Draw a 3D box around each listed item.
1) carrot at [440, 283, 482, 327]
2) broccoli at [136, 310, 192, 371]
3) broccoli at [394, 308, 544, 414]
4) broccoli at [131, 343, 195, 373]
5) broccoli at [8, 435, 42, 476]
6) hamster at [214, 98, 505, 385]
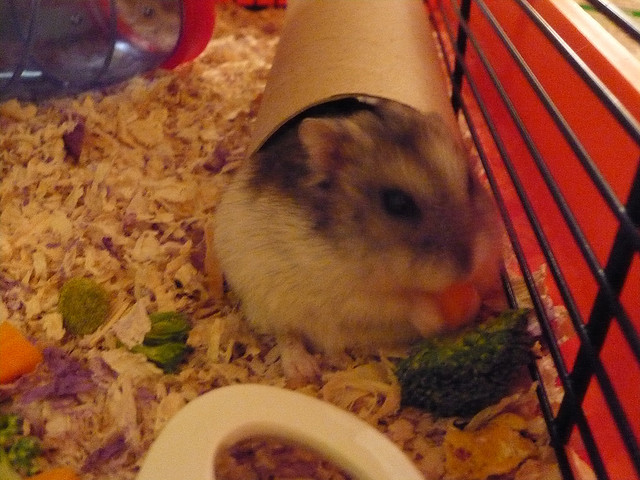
[{"bbox_3d":[0.350,0.162,1.502,0.076,0.118,0.074,-2,31,-7],"label":"carrot"},{"bbox_3d":[-0.431,0.287,1.667,0.132,0.040,0.137,39,75,22],"label":"broccoli"},{"bbox_3d":[0.395,0.320,1.595,0.373,0.142,0.372,-6,11,18],"label":"broccoli"},{"bbox_3d":[-0.426,0.306,1.653,0.114,0.034,0.091,20,47,27],"label":"broccoli"},{"bbox_3d":[-0.753,0.552,1.533,0.063,0.027,0.089,39,67,-19],"label":"broccoli"},{"bbox_3d":[0.090,0.114,1.773,0.679,0.578,0.749,-32,51,-16],"label":"hamster"}]
